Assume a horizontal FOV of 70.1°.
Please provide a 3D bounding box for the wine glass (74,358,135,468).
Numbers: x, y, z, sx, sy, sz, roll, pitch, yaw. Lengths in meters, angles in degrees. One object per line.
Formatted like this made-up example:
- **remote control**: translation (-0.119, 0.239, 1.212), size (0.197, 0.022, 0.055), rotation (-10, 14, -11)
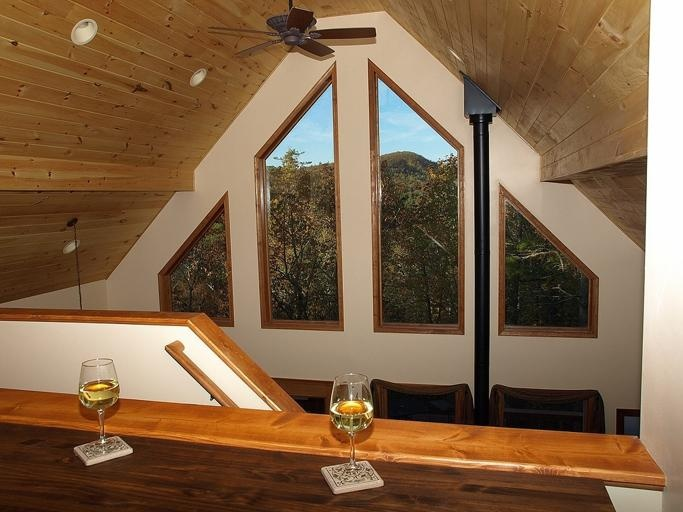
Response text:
- **wine glass**: translation (-0.659, 0.409, 1.334), size (0.136, 0.220, 0.240), rotation (-2, 4, -28)

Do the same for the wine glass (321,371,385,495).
- **wine glass**: translation (0.023, 0.424, 1.203), size (0.146, 0.230, 0.189), rotation (0, 4, -3)
